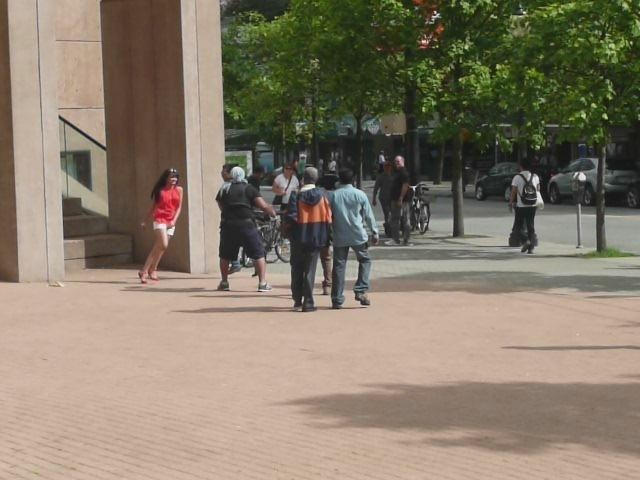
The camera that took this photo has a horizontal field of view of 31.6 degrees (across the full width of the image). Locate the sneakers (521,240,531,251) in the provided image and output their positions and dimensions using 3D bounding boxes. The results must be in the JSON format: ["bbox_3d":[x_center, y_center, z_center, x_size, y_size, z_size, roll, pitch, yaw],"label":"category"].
[{"bbox_3d":[4.152,0.139,22.806,0.126,0.263,0.303,0,10,-1],"label":"sneakers"}]

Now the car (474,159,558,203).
[{"bbox_3d":[6.817,-2.033,40.785,1.148,0.973,2.338,-2,8,-23],"label":"car"}]

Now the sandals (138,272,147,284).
[{"bbox_3d":[-2.929,0.626,18.772,0.132,0.202,0.374,-1,10,-9],"label":"sandals"}]

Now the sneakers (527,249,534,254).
[{"bbox_3d":[4.255,0.237,22.761,0.125,0.089,0.284,3,10,11],"label":"sneakers"}]

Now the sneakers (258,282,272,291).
[{"bbox_3d":[-0.866,0.760,17.952,0.094,0.104,0.243,3,6,34],"label":"sneakers"}]

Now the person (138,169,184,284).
[{"bbox_3d":[-2.643,-0.214,18.773,0.740,1.848,0.534,-2,10,-13],"label":"person"}]
